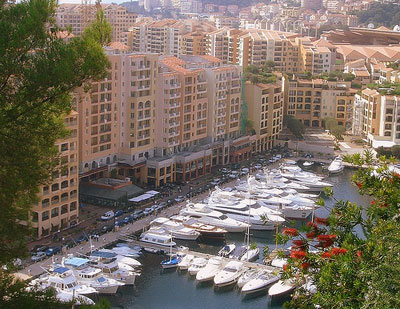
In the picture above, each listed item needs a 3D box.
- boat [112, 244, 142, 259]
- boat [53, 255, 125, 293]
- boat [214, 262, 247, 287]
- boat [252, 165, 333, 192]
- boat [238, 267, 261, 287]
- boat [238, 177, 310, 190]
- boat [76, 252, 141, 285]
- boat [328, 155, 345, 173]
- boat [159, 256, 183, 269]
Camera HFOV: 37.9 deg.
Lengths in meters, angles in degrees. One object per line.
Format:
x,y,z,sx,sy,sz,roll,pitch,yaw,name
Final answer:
-8.490,11.409,67.942,2.572,0.623,1.350,21,21,5,boat
-12.388,12.648,61.027,6.058,3.281,7.943,-1,2,28,boat
3.173,13.360,63.334,1.543,1.139,4.182,9,20,27,boat
14.726,4.161,96.798,7.898,2.207,2.398,8,31,17,boat
5.332,13.371,63.067,1.070,0.945,3.393,5,10,36,boat
11.622,4.773,94.308,6.727,1.248,4.967,-2,7,27,boat
-9.186,12.325,62.651,7.075,2.736,2.437,21,28,29,boat
24.526,1.966,105.663,2.015,2.517,6.740,2,11,28,boat
-3.087,12.339,66.104,2.501,1.343,1.730,-11,-3,-41,boat
